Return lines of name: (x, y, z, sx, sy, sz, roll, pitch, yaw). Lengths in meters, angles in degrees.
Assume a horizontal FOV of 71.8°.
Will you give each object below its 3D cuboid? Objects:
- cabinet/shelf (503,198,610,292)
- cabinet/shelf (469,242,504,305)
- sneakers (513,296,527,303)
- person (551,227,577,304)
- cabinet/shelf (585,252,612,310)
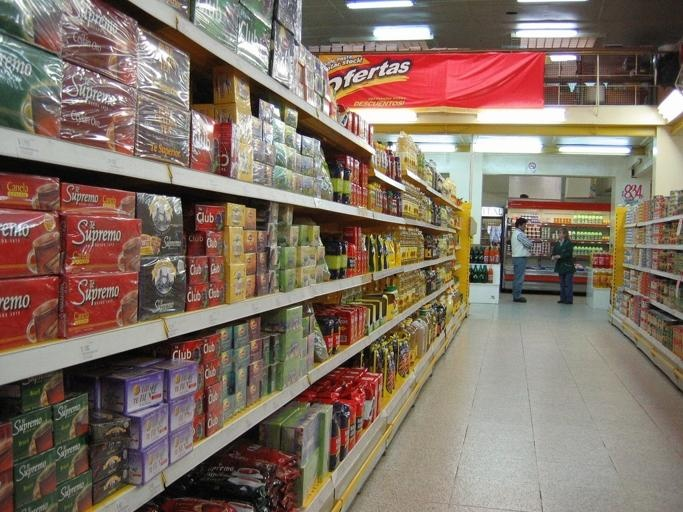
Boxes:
cabinet/shelf: (5.971, -0.209, 13.045, 2.728, 2.350, 0.884, 1, -2, 3)
cabinet/shelf: (3.243, 0.442, 10.731, 0.654, 1.302, 0.405, 1, 3, 12)
sneakers: (4.224, 1.036, 11.117, 0.350, 0.131, 0.251, 0, 3, -18)
person: (5.318, 0.237, 11.345, 0.490, 1.794, 0.858, 2, 3, 24)
cabinet/shelf: (5.840, 0.564, 10.689, 0.475, 1.189, 1.008, 2, 3, 28)
